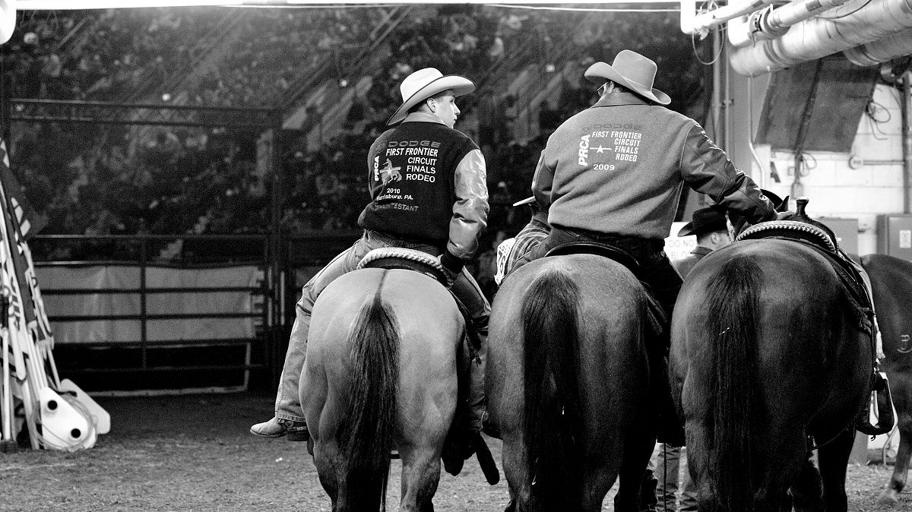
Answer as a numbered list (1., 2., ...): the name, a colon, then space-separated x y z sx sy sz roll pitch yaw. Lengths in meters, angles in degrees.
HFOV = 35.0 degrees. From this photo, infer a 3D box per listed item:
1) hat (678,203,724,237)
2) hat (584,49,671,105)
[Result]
1. hat: 2.873 -0.443 16.849 0.441 0.163 0.370 -18 0 5
2. hat: 1.843 -1.898 15.311 0.730 0.282 0.636 23 -3 33
